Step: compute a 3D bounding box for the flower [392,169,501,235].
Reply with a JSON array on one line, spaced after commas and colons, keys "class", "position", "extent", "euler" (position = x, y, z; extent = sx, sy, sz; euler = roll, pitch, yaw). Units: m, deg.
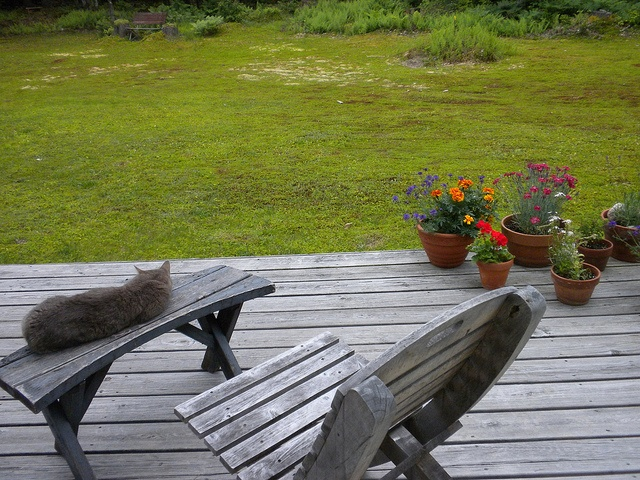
[{"class": "flower", "position": [1.251, -0.218, 6.250], "extent": [1.021, 0.529, 0.885], "euler": [-2, 39, 1]}]

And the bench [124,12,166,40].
[{"class": "bench", "position": [-5.581, -6.919, 21.299], "extent": [1.241, 0.652, 1.954], "euler": [-5, 21, -11]}]

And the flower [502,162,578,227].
[{"class": "flower", "position": [1.992, -0.390, 6.052], "extent": [0.737, 0.583, 0.685], "euler": [-1, 6, 16]}]

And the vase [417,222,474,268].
[{"class": "vase", "position": [1.099, 0.069, 5.757], "extent": [0.424, 0.242, 0.386], "euler": [-2, 19, -8]}]

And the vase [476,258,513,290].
[{"class": "vase", "position": [1.443, 0.280, 5.549], "extent": [0.310, 0.209, 0.283], "euler": [-2, 15, -6]}]
